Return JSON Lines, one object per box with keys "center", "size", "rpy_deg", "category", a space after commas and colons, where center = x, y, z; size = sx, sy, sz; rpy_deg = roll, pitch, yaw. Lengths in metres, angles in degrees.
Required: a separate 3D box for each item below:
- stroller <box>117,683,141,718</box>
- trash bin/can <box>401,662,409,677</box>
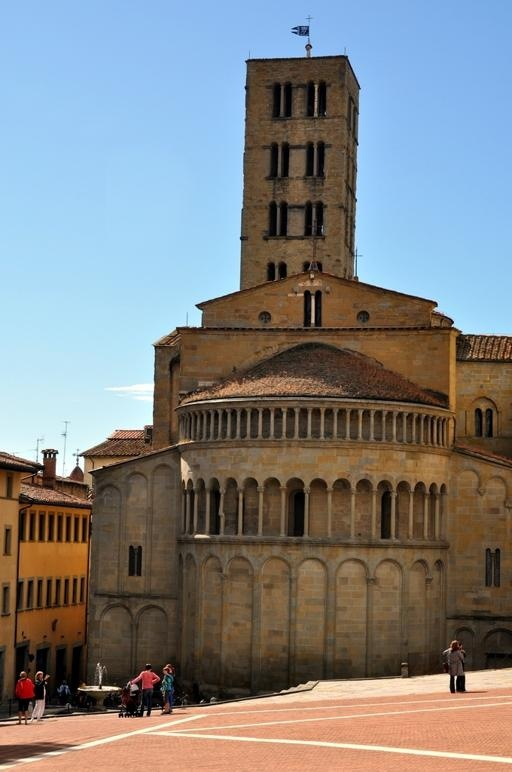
{"center": [-4.265, 10.824, 42.544], "size": [0.815, 1.021, 1.806], "rpy_deg": [2, -18, 0], "category": "stroller"}
{"center": [5.720, 10.922, 47.424], "size": [0.225, 0.448, 0.521], "rpy_deg": [1, -12, -3], "category": "trash bin/can"}
